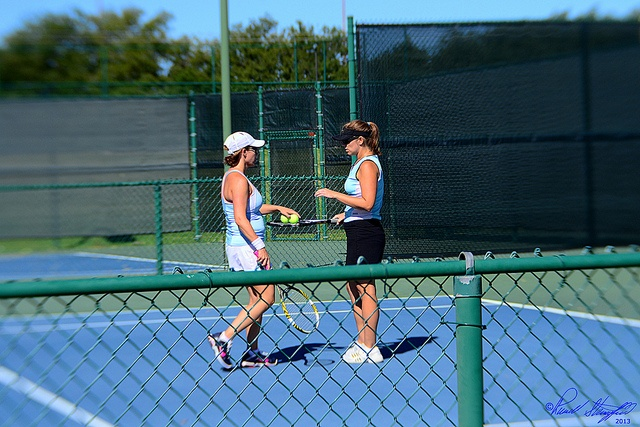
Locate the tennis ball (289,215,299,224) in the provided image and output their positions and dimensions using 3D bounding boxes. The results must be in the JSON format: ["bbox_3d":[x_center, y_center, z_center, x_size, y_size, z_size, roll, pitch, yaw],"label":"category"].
[{"bbox_3d":[-0.350,0.086,8.807,0.106,0.147,0.117,-1,-21,0],"label":"tennis ball"}]

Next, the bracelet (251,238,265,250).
[{"bbox_3d":[-0.775,0.385,8.120,0.144,0.144,0.145,-15,3,1],"label":"bracelet"}]

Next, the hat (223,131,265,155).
[{"bbox_3d":[-1.010,-0.937,8.454,0.405,0.239,0.278,-5,11,-11],"label":"hat"}]
